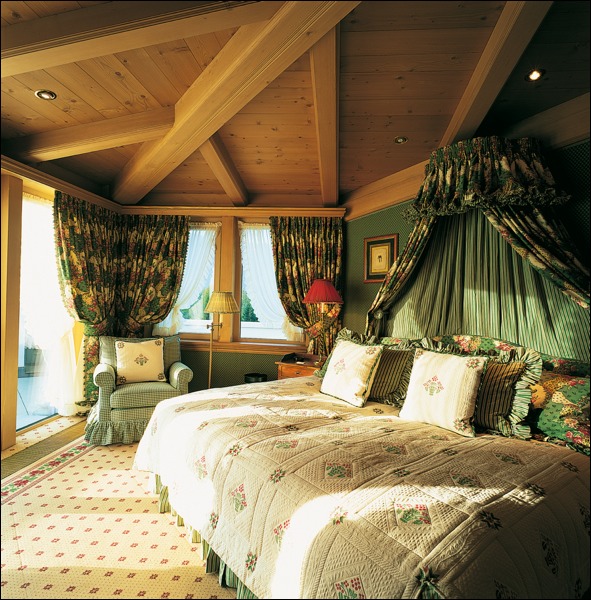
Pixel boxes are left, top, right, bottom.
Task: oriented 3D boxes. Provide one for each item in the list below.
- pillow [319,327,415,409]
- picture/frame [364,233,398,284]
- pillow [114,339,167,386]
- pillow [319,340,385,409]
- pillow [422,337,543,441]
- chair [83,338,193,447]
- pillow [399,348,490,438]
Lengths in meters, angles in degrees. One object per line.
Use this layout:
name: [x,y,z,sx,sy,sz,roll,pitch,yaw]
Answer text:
pillow: [0.527,0.430,2.908,0.525,0.409,0.140,9,-21,34]
picture/frame: [0.771,-0.361,4.116,0.045,0.496,0.571,3,2,-31]
pillow: [-1.407,0.567,4.175,0.501,0.393,0.153,0,-33,-20]
pillow: [0.362,0.466,2.975,0.131,0.339,0.421,30,-17,-27]
pillow: [1.100,0.455,2.453,0.606,0.419,0.168,-8,-26,40]
chair: [-1.386,0.751,4.117,0.978,0.734,0.798,-1,9,-32]
pillow: [0.851,0.497,2.620,0.176,0.467,0.567,22,-6,-26]
